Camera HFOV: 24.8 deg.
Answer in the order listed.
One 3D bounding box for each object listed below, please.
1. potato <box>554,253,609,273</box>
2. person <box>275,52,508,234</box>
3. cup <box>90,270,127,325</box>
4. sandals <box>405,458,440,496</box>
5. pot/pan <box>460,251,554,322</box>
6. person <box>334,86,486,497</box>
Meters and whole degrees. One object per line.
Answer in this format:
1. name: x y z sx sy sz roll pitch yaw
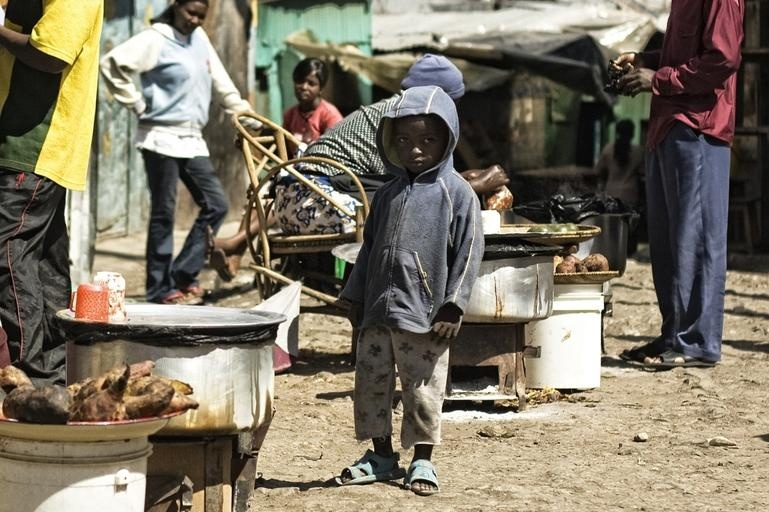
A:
1. potato: 1.501 0.064 13.271 0.285 0.106 0.185 -2 -2 -13
2. person: 0.107 -0.764 13.397 1.963 1.239 1.094 -7 19 -2
3. cup: -1.790 0.267 11.484 0.207 0.340 0.248 4 1 -17
4. sandals: 0.257 1.497 11.774 0.241 0.223 0.543 0 -3 -2
5. pot/pan: 0.918 0.221 12.645 0.547 0.314 0.533 0 -1 3
6. person: 0.178 0.218 11.870 0.981 2.759 0.392 0 2 3
